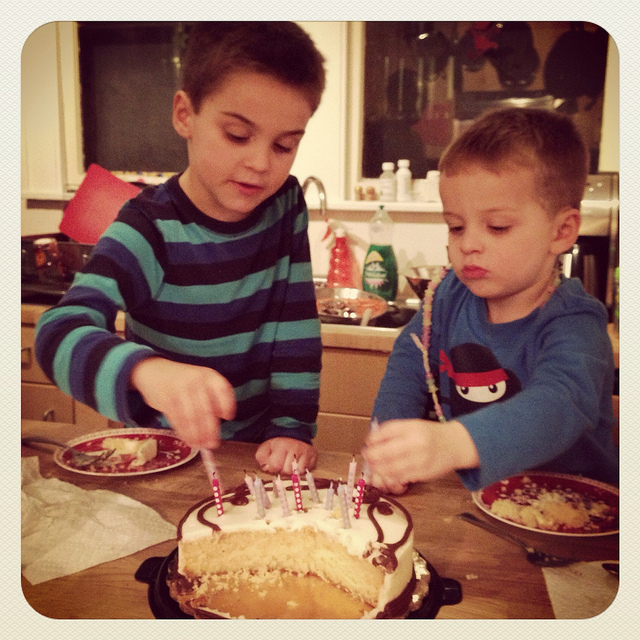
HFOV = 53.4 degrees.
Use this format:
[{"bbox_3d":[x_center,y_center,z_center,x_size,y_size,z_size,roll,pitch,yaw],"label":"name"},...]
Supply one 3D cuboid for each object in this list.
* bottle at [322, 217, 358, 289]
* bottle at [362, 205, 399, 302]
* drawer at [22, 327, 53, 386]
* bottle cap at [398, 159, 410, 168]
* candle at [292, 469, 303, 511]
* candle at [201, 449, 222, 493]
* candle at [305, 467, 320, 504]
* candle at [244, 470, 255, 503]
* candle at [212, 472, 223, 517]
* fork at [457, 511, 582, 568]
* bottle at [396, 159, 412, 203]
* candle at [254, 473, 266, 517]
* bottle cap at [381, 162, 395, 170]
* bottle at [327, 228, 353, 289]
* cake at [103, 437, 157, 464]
[{"bbox_3d":[0.074,-0.238,2.277,0.114,0.258,0.076,9,14,30],"label":"bottle"},{"bbox_3d":[0.203,-0.225,2.226,0.142,0.369,0.139,1,12,0],"label":"bottle"},{"bbox_3d":[-0.977,0.124,2.179,0.085,0.207,0.129,-5,10,-26],"label":"drawer"},{"bbox_3d":[0.283,-0.528,2.134,0.034,0.031,0.008,5,4,6],"label":"bottle cap"},{"bbox_3d":[-0.036,0.268,1.020,0.015,0.072,0.028,-2,9,-4],"label":"candle"},{"bbox_3d":[-0.177,0.246,1.028,0.020,0.088,0.016,-12,14,35],"label":"candle"},{"bbox_3d":[-0.011,0.271,1.054,0.019,0.054,0.042,-2,8,-5],"label":"candle"},{"bbox_3d":[-0.114,0.270,1.031,0.015,0.058,0.066,-2,8,-8],"label":"candle"},{"bbox_3d":[-0.158,0.270,0.992,0.015,0.068,0.022,-5,10,-23],"label":"candle"},{"bbox_3d":[0.272,0.301,0.911,0.192,0.029,0.049,15,29,43],"label":"fork"},{"bbox_3d":[0.289,-0.474,2.164,0.051,0.143,0.060,0,9,6],"label":"bottle"},{"bbox_3d":[-0.095,0.279,1.006,0.013,0.060,0.018,-3,9,-12],"label":"candle"},{"bbox_3d":[0.229,-0.520,2.142,0.032,0.028,0.030,2,27,7],"label":"bottle cap"},{"bbox_3d":[0.069,-0.215,2.229,0.089,0.201,0.053,0,9,5],"label":"bottle"},{"bbox_3d":[-0.332,0.219,1.101,0.057,0.017,0.047,10,13,14],"label":"cake"}]
